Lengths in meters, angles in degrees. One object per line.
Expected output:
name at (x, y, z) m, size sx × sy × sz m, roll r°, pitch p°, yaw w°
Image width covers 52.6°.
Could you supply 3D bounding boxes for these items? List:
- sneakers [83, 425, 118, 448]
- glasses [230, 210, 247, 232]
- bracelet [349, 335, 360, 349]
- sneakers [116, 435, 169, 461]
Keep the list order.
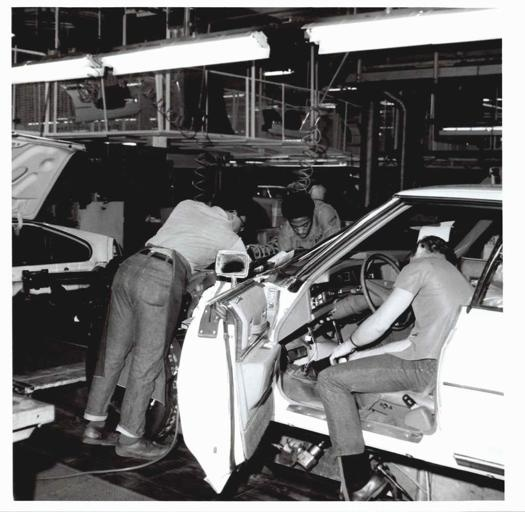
sneakers at (-1.156, 1.272, 3.807) m, size 0.118 × 0.130 × 0.304 m, roll 3°, pitch 0°, yaw 8°
glasses at (-0.176, -0.240, 3.873) m, size 0.163 × 0.161 × 0.104 m, roll 0°, pitch 13°, yaw 0°
bracelet at (0.538, 0.523, 3.192) m, size 0.063 × 0.048 × 0.065 m, roll 30°, pitch 38°, yaw -15°
sneakers at (-0.818, 1.281, 3.601) m, size 0.380 × 0.157 × 0.171 m, roll 4°, pitch 1°, yaw -17°
